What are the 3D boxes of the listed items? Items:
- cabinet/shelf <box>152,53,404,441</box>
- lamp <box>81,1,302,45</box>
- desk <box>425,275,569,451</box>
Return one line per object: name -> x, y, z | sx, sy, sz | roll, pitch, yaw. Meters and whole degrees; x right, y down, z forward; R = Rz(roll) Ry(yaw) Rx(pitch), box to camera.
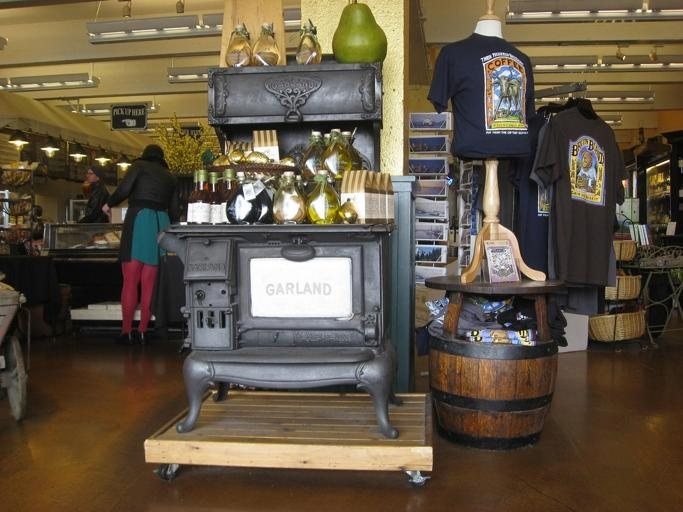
cabinet/shelf -> -0.248, -0.086, 3.219 | 1.127, 1.933, 0.911 | 1, 10, 5
lamp -> -2.375, -2.910, 7.659 | 1.697, 0.343, 0.412 | -1, 10, -5
desk -> 0.912, 0.591, 3.597 | 0.859, 0.939, 0.788 | -1, -1, 21
